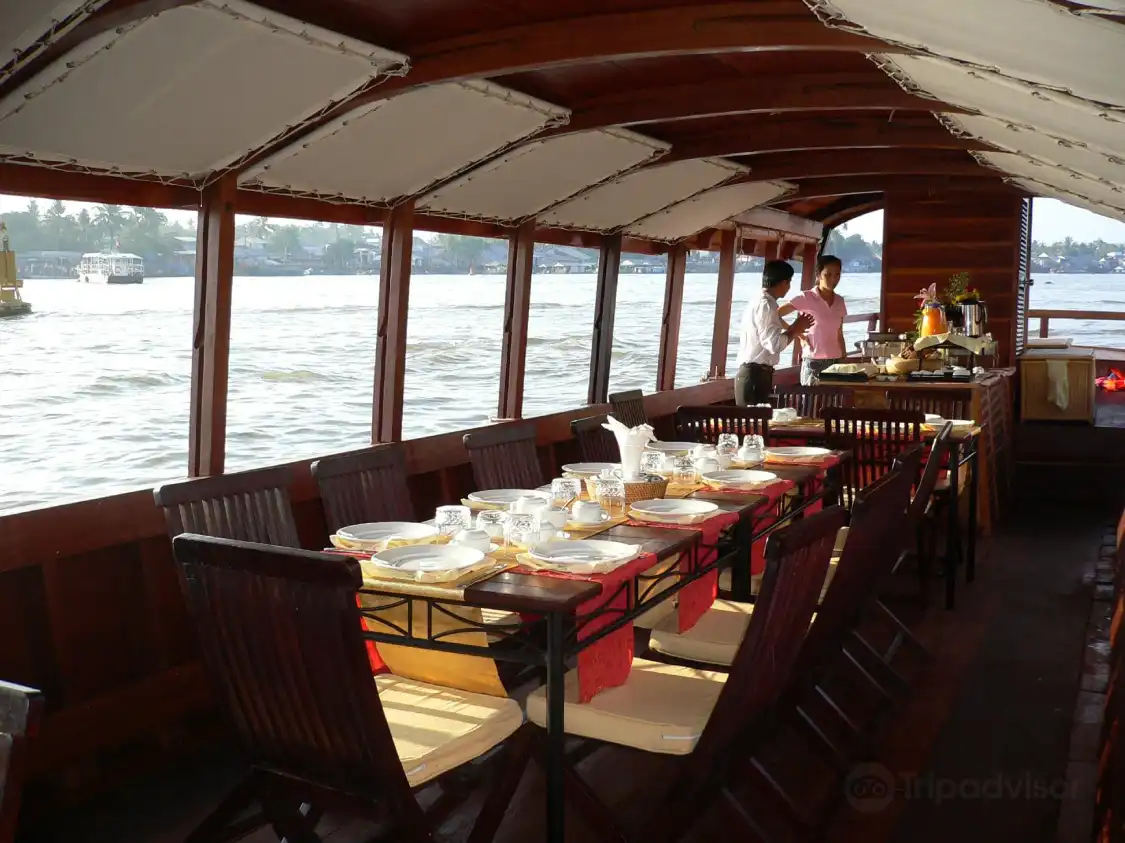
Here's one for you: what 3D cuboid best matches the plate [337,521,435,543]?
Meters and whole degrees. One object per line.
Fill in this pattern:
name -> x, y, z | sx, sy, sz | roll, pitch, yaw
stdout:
plate -> -0.663, 0.415, 3.158 | 0.379, 0.022, 0.278 | -1, 7, -4

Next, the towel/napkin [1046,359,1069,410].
towel/napkin -> 5.455, -0.405, 9.001 | 0.234, 0.544, 0.120 | 3, 10, 25

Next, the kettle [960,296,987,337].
kettle -> 3.817, -0.958, 7.617 | 0.188, 0.371, 0.323 | 3, 9, 26

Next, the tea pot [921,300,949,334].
tea pot -> 3.438, -0.926, 7.556 | 0.245, 0.302, 0.523 | 3, 8, 24
